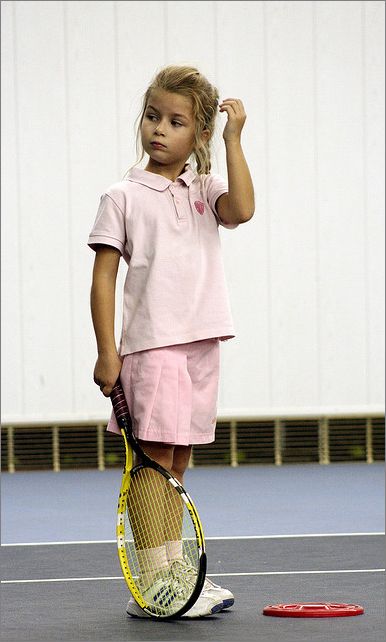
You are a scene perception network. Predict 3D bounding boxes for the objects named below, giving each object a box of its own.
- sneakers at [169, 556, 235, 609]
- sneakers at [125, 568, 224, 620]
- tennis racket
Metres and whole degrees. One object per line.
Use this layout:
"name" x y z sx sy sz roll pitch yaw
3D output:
"sneakers" 0.013 0.610 2.404 0.071 0.130 0.242 -3 -8 -20
"sneakers" -0.030 0.616 2.421 0.185 0.114 0.103 -6 0 1
"tennis racket" -0.114 0.386 2.531 0.212 0.061 0.807 2 38 -13
